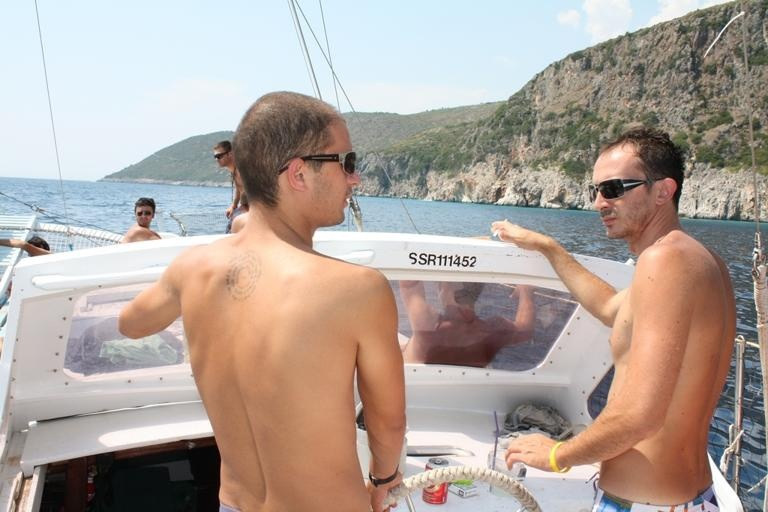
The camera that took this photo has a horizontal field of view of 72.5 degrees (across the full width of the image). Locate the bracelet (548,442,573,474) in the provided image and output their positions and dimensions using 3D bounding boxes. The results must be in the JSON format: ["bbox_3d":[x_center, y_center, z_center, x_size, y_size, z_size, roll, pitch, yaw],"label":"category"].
[{"bbox_3d":[0.883,1.013,2.611,0.051,0.142,0.125,0,17,43],"label":"bracelet"}]

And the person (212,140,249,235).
[{"bbox_3d":[-2.254,-1.151,7.609,0.440,1.362,0.445,3,-33,-18],"label":"person"}]

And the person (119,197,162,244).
[{"bbox_3d":[-3.790,-0.514,8.466,0.769,0.753,0.351,2,3,-1],"label":"person"}]
